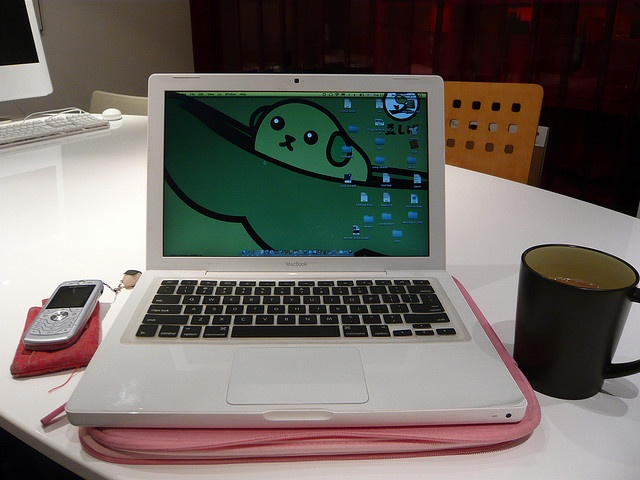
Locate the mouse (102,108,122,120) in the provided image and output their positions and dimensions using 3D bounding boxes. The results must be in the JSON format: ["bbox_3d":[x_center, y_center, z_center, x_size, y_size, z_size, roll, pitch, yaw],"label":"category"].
[{"bbox_3d":[-0.812,-0.498,1.725,0.062,0.037,0.062,3,18,-3],"label":"mouse"}]

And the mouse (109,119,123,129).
[{"bbox_3d":[-0.774,-0.437,1.687,0.055,0.035,0.055,17,24,39],"label":"mouse"}]

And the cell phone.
[{"bbox_3d":[-0.386,0.106,0.679,0.075,0.027,0.146,0,30,-3],"label":"cell phone"}]
